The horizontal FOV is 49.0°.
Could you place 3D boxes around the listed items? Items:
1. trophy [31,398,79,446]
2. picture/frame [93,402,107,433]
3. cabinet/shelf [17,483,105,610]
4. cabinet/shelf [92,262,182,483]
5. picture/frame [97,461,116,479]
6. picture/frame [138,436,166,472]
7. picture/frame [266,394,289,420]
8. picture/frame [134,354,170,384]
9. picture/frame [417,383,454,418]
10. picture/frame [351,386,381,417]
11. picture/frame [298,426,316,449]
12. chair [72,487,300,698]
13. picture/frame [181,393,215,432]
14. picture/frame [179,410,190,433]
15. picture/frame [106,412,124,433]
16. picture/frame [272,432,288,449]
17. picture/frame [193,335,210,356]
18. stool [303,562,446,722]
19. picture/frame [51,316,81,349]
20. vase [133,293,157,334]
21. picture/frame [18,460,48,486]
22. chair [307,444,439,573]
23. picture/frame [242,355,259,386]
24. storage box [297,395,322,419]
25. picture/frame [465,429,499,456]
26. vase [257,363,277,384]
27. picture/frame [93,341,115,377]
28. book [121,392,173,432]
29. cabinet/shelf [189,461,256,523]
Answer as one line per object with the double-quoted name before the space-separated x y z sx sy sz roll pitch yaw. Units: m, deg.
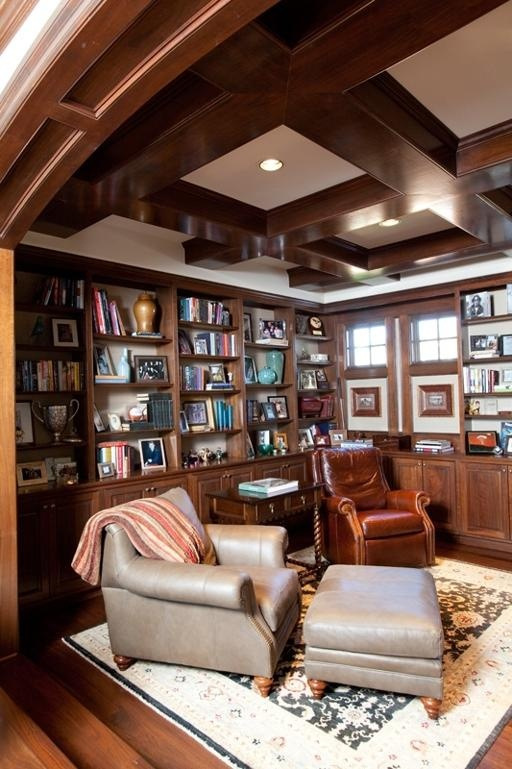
"trophy" -1.254 0.237 3.615 0.270 0.270 0.318 -2 -1 31
"picture/frame" -1.082 0.244 3.847 0.044 0.154 0.171 -12 1 4
"cabinet/shelf" -1.179 0.925 3.262 0.270 0.557 0.499 5 1 34
"cabinet/shelf" -0.885 -0.068 4.121 0.225 1.378 0.619 4 -1 43
"picture/frame" -1.014 0.578 3.757 0.014 0.072 0.099 -25 -16 23
"picture/frame" -0.783 0.525 4.155 0.206 0.247 0.024 12 -29 -42
"picture/frame" 0.202 0.229 5.392 0.226 0.251 0.018 12 -32 -43
"picture/frame" -0.785 -0.104 4.158 0.221 0.208 0.016 4 -13 -44
"picture/frame" 1.677 0.152 5.197 0.026 0.321 0.323 2 -2 -37
"picture/frame" 1.150 0.182 5.815 0.034 0.319 0.318 3 -4 -38
"picture/frame" 0.525 0.561 5.808 0.044 0.176 0.194 -14 -7 36
"chair" -0.286 0.974 2.676 0.862 0.740 0.929 -1 0 11
"picture/frame" -0.492 0.242 4.602 0.023 0.295 0.296 -16 -13 33
"picture/frame" -0.569 0.299 4.404 0.015 0.194 0.148 -15 -17 21
"picture/frame" -1.014 0.275 3.978 0.021 0.169 0.140 -18 -9 36
"picture/frame" 0.225 0.549 5.376 0.129 0.202 0.064 4 -11 -33
"picture/frame" -0.462 -0.313 4.618 0.020 0.158 0.179 -10 -7 37
"stool" 0.524 1.110 2.484 0.551 0.299 0.624 -1 -1 16
"picture/frame" -1.244 -0.327 3.628 0.019 0.272 0.225 -18 -11 28
"vase" -0.836 -0.509 4.170 0.154 0.316 0.254 -1 -1 -13
"picture/frame" -1.376 0.552 3.460 0.220 0.135 0.137 0 -1 -44
"chair" 0.828 0.887 4.134 0.784 0.799 0.895 2 -8 -40
"picture/frame" -0.062 -0.121 5.133 0.027 0.259 0.261 -9 -13 23
"storage box" 0.559 0.252 5.774 0.203 0.253 0.282 -7 -7 41
"picture/frame" 1.903 0.495 4.703 0.187 0.183 0.068 -6 -17 38
"vase" 0.102 -0.086 5.242 0.163 0.189 0.163 -3 2 -10
"picture/frame" -1.081 -0.168 3.940 0.024 0.226 0.203 -9 17 16
"book" -0.779 0.216 4.109 0.137 0.292 0.323 3 -1 43
"cabinet/shelf" -0.262 0.762 3.920 0.190 0.421 0.464 -3 -2 33
